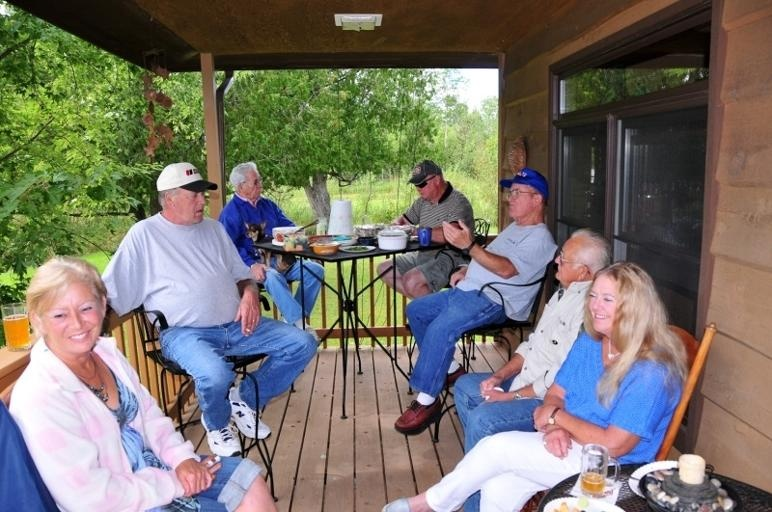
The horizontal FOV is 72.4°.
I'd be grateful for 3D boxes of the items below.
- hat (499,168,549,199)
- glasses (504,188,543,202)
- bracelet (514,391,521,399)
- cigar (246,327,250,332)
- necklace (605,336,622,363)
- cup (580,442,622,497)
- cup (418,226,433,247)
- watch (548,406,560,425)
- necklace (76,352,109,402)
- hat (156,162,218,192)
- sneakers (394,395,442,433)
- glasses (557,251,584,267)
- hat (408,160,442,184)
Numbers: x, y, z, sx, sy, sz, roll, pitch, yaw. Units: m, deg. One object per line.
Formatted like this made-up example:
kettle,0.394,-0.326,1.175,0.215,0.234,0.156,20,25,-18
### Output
hat,1.062,-0.563,3.973,0.332,0.191,0.238,16,8,1
glasses,1.053,-0.451,3.922,0.185,0.059,0.125,12,2,10
bracelet,0.762,0.810,3.063,0.032,0.036,0.025,-3,-15,9
cigar,-0.947,0.507,3.635,0.029,0.030,0.007,-3,10,-16
necklace,1.070,0.447,2.506,0.035,0.102,0.101,-6,-23,3
cup,0.840,0.874,2.161,0.201,0.215,0.129,1,1,-1
cup,0.306,-0.146,4.150,0.125,0.152,0.132,-1,4,0
watch,0.798,0.781,2.571,0.042,0.076,0.076,0,-30,-4
necklace,-1.256,0.530,2.300,0.047,0.199,0.125,-26,24,23
hat,-1.362,-0.530,3.641,0.327,0.189,0.216,-4,10,-8
sneakers,0.237,1.203,3.984,0.387,0.158,0.177,-36,21,-16
glasses,1.049,0.025,3.014,0.089,0.029,0.088,11,13,-3
hat,0.358,-0.800,5.030,0.303,0.185,0.194,-16,20,-26
